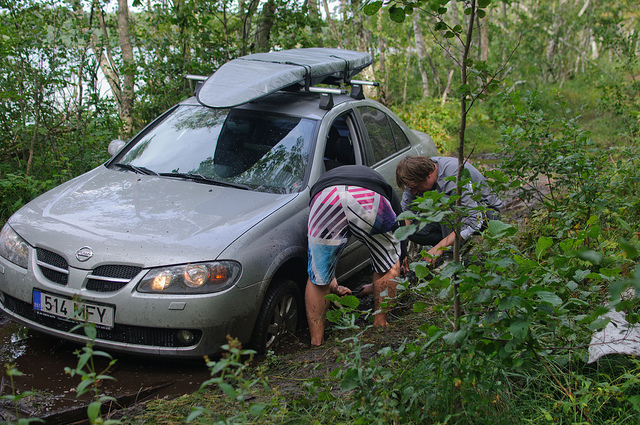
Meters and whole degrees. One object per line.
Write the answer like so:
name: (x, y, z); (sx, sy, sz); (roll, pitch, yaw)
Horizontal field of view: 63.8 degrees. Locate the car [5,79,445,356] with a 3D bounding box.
car: (-0.936, -0.100, 4.693); (1.920, 2.218, 3.255); (9, 15, 44)
